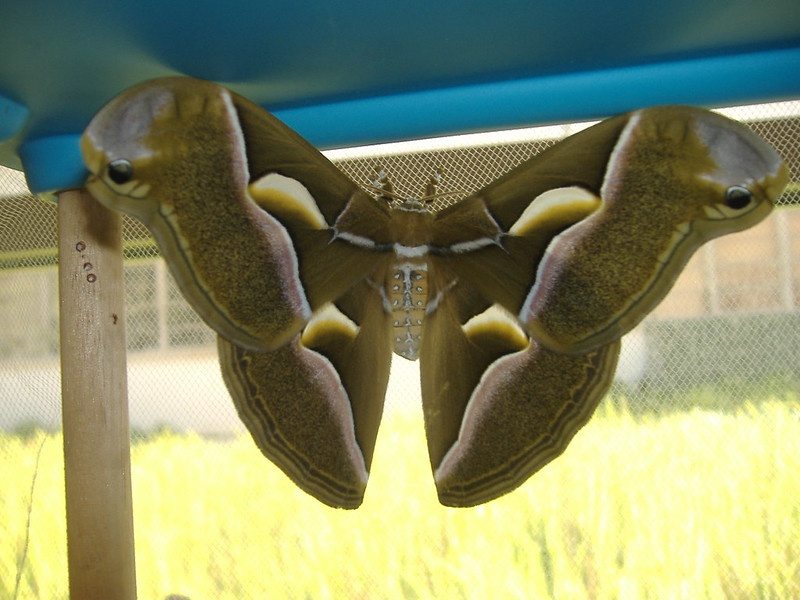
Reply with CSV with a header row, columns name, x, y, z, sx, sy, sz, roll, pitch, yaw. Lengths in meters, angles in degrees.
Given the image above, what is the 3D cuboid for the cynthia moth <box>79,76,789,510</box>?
name,x,y,z,sx,sy,sz,roll,pitch,yaw
cynthia moth,0.158,-0.021,2.610,1.545,0.756,0.217,3,8,-4
